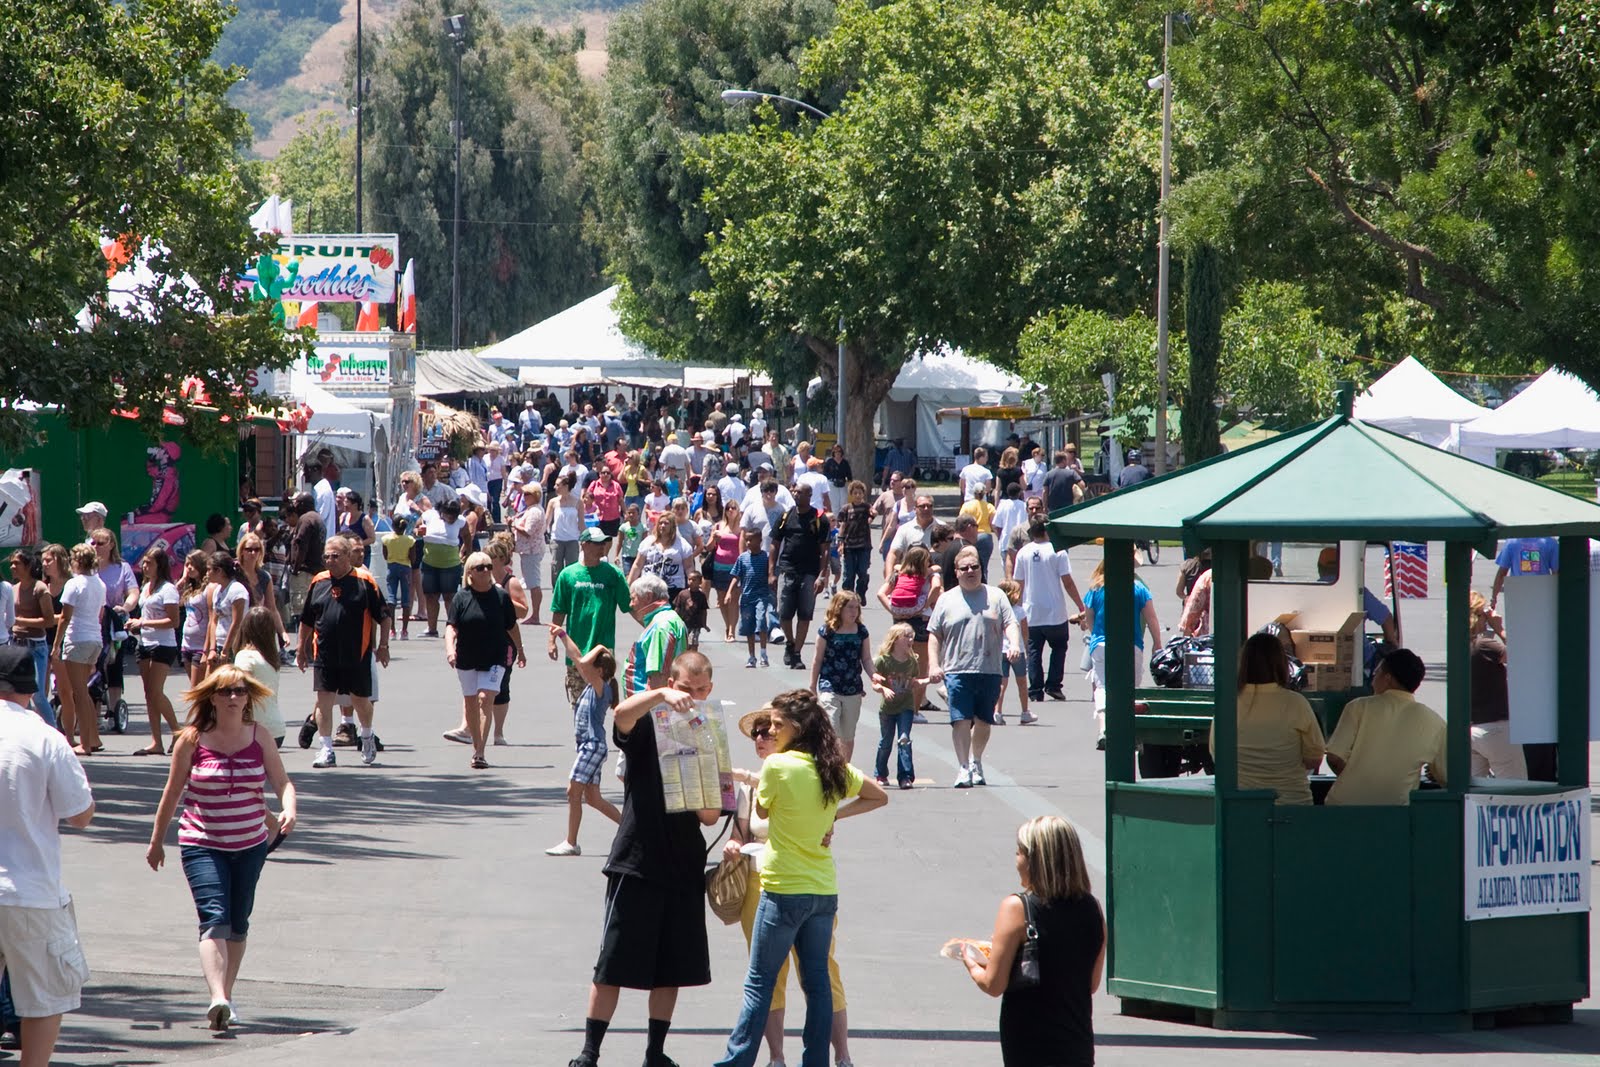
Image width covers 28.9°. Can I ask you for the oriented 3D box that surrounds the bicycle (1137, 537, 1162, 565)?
[{"bbox_3d":[5.113,0.282,45.741,0.300,0.589,0.583,0,-14,-3],"label":"bicycle"}]

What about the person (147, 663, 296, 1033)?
[{"bbox_3d":[-4.778,2.582,25.974,0.887,2.991,1.424,2,-4,-38],"label":"person"}]

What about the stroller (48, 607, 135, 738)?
[{"bbox_3d":[-7.753,1.593,34.949,1.277,1.521,0.674,-1,-2,14],"label":"stroller"}]

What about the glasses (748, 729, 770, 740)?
[{"bbox_3d":[-0.316,1.639,25.198,0.100,0.028,0.103,2,-46,4],"label":"glasses"}]

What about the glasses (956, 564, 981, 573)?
[{"bbox_3d":[1.773,0.369,32.713,0.198,0.073,0.217,-1,-1,-5],"label":"glasses"}]

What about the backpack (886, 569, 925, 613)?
[{"bbox_3d":[1.224,0.672,35.608,0.370,0.487,0.260,11,-3,4],"label":"backpack"}]
